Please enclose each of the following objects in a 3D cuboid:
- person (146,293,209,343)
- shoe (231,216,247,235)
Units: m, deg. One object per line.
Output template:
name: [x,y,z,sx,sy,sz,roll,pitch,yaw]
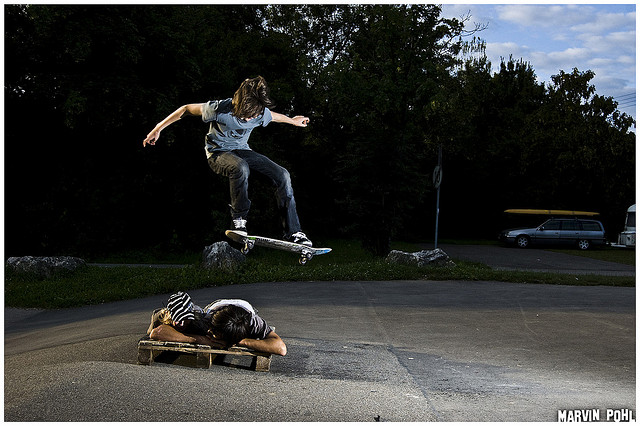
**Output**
person: [-2.340,1.773,8.730,0.766,0.402,0.968,-3,8,-24]
shoe: [-1.583,0.230,10.365,0.300,0.356,0.447,4,-1,-10]
